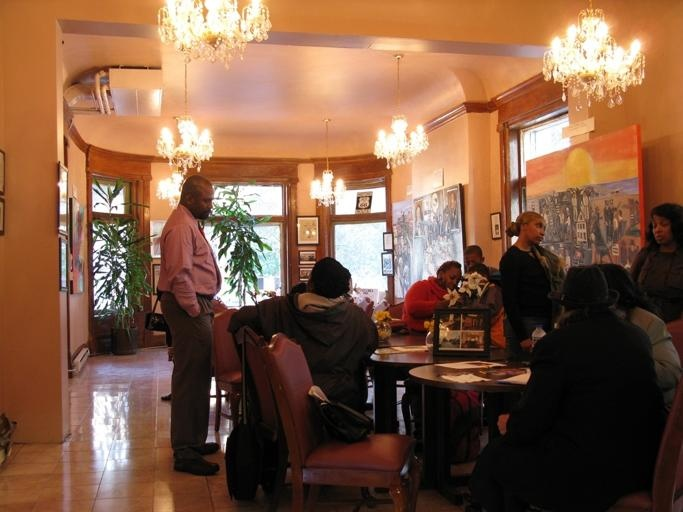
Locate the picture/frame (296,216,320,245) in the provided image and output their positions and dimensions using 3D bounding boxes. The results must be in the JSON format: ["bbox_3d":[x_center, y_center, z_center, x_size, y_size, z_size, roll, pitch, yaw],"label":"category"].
[{"bbox_3d":[-0.776,-0.567,11.974,0.613,0.795,0.054,0,-2,-12],"label":"picture/frame"}]

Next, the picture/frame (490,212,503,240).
[{"bbox_3d":[2.384,-0.457,8.231,0.051,0.526,0.380,3,-5,-15],"label":"picture/frame"}]

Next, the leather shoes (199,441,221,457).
[{"bbox_3d":[-1.084,1.567,4.363,0.210,0.095,0.076,-2,3,-21],"label":"leather shoes"}]

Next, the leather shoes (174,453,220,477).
[{"bbox_3d":[-1.098,1.577,4.048,0.292,0.125,0.145,-2,-6,11],"label":"leather shoes"}]

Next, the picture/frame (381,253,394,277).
[{"bbox_3d":[0.948,0.166,10.945,0.080,0.635,0.422,5,-6,-33],"label":"picture/frame"}]

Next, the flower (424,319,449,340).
[{"bbox_3d":[0.687,0.529,3.861,0.125,0.183,0.184,-4,-12,12],"label":"flower"}]

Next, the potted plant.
[{"bbox_3d":[-4.235,0.130,10.237,1.062,3.370,1.584,0,-2,-25],"label":"potted plant"}]

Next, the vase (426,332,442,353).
[{"bbox_3d":[0.635,0.615,3.828,0.112,0.161,0.114,-9,-16,35],"label":"vase"}]

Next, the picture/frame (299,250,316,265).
[{"bbox_3d":[-0.786,0.036,11.892,0.288,0.225,0.039,2,-6,-9],"label":"picture/frame"}]

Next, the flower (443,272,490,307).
[{"bbox_3d":[0.926,0.260,3.962,0.296,0.223,0.100,-17,-20,16],"label":"flower"}]

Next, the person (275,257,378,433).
[{"bbox_3d":[-0.094,0.733,3.719,0.680,1.523,0.556,8,21,11],"label":"person"}]

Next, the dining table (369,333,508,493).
[{"bbox_3d":[0.643,1.018,3.779,0.885,0.610,0.906,0,-1,-15],"label":"dining table"}]

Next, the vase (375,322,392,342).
[{"bbox_3d":[0.335,0.601,4.248,0.169,0.173,0.174,1,-12,-9],"label":"vase"}]

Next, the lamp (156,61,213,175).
[{"bbox_3d":[-2.698,-2.046,9.618,1.108,1.336,4.115,0,-2,-19],"label":"lamp"}]

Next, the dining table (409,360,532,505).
[{"bbox_3d":[0.788,1.094,3.261,0.784,0.763,0.889,0,-5,-7],"label":"dining table"}]

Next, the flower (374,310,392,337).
[{"bbox_3d":[0.340,0.531,4.199,0.172,0.229,0.183,-1,-11,-7],"label":"flower"}]

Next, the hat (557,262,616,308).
[{"bbox_3d":[1.091,0.114,2.437,0.169,0.087,0.212,-4,12,8],"label":"hat"}]

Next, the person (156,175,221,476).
[{"bbox_3d":[-1.192,0.486,4.196,0.484,2.303,0.479,0,-2,-19],"label":"person"}]
